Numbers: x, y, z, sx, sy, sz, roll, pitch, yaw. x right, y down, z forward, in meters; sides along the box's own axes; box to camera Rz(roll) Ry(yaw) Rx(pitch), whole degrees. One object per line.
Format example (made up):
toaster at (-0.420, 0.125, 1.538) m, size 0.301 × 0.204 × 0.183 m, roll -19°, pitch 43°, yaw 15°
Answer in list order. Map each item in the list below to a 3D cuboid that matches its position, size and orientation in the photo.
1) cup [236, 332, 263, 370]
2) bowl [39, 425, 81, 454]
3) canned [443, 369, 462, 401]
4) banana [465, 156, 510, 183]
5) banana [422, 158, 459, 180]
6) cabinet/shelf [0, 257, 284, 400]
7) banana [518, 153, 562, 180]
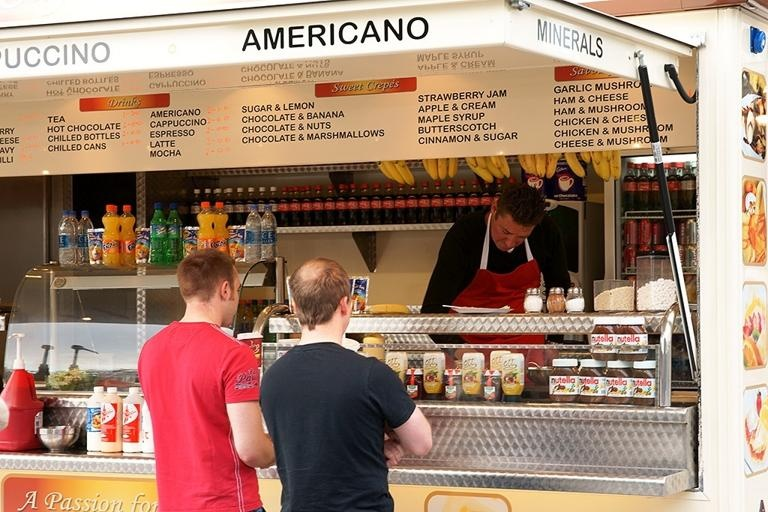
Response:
cup at (-0.704, 0.493, 4.680) m, size 0.129 × 0.188 × 0.124 m, roll -2°, pitch 3°, yaw 0°
bowl at (-1.769, 1.001, 4.827) m, size 0.182 × 0.126 × 0.213 m, roll -6°, pitch -6°, yaw 41°
canned at (0.338, 0.635, 4.344) m, size 0.123 × 0.221 × 0.124 m, roll 0°, pitch -4°, yaw 5°
banana at (0.718, -0.622, 6.300) m, size 0.136 × 0.206 × 0.419 m, roll -14°, pitch 7°, yaw -11°
banana at (0.401, -0.645, 6.172) m, size 0.224 × 0.072 × 0.226 m, roll 21°, pitch -32°, yaw -12°
cabinet/shelf at (-1.712, 0.377, 4.917) m, size 1.236 × 0.707 × 0.885 m, roll -1°, pitch -5°, yaw -3°
banana at (1.040, -0.620, 5.946) m, size 0.112 × 0.165 × 0.333 m, roll -14°, pitch 12°, yaw -16°
